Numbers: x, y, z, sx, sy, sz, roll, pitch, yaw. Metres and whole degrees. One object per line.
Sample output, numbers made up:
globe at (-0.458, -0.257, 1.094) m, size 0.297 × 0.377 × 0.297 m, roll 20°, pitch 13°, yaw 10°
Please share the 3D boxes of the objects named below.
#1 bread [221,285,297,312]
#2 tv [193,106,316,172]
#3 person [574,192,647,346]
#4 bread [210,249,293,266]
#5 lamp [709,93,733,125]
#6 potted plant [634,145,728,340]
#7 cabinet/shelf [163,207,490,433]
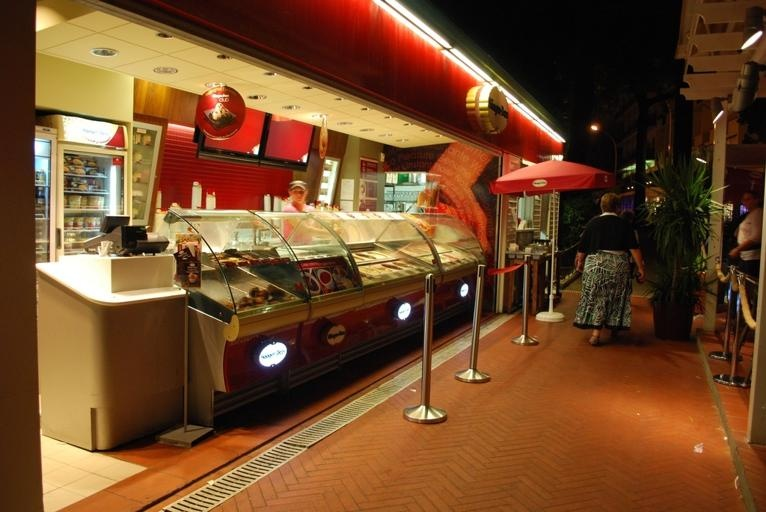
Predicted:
bread at (-1.247, 0.418, 5.047) m, size 0.170 × 0.203 × 0.778 m, roll 8°, pitch 11°, yaw 39°
tv at (-2.194, -2.230, 9.306) m, size 0.747 × 0.771 × 2.621 m, roll 7°, pitch 8°, yaw 29°
person at (3.712, 0.220, 8.064) m, size 0.951 × 2.436 × 1.072 m, roll 1°, pitch 2°, yaw 30°
bread at (-1.410, 0.017, 5.236) m, size 0.219 × 0.196 × 0.896 m, roll 8°, pitch 11°, yaw 41°
lamp at (5.796, -2.530, 8.373) m, size 0.278 × 0.491 × 0.718 m, roll 6°, pitch 10°, yaw 33°
potted plant at (4.926, -0.118, 8.139) m, size 1.108 × 2.980 × 0.754 m, roll 3°, pitch 9°, yaw 12°
cabinet/shelf at (-0.531, 0.416, 6.427) m, size 0.850 × 2.056 × 4.362 m, roll 7°, pitch 11°, yaw 35°
